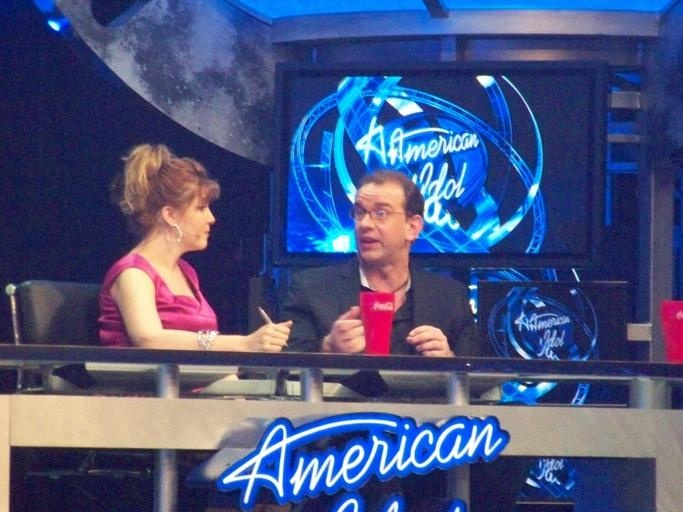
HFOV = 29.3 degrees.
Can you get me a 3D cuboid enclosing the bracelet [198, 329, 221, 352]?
[{"bbox_3d":[-0.488,0.301,4.835,0.073,0.071,0.079,-1,-7,1],"label":"bracelet"}]
